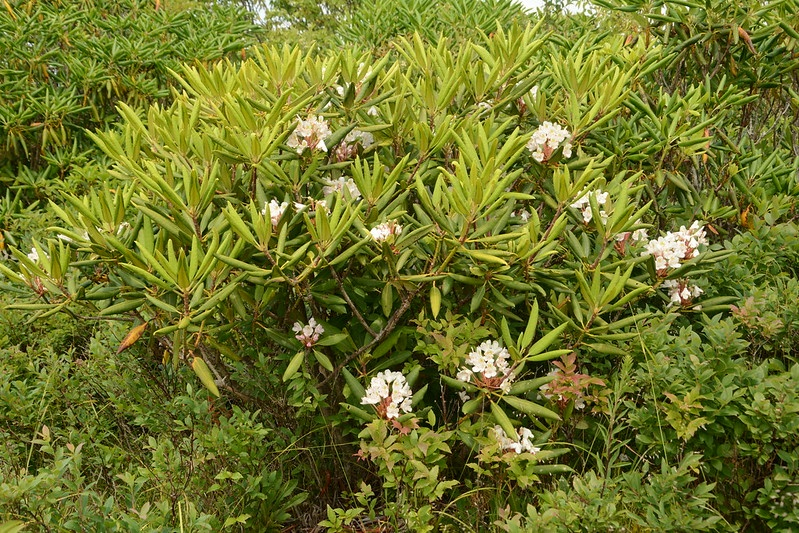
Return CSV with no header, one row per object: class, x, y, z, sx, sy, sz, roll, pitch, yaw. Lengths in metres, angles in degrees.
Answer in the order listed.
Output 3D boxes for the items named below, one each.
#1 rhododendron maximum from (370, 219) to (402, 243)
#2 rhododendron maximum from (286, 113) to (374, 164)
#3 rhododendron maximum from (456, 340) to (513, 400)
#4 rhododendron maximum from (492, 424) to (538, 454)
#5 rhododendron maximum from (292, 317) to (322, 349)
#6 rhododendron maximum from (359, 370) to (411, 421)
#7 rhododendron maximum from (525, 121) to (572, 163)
rhododendron maximum,-0.077,-0.187,3.343,0.131,0.083,0.125,-20,16,-29
rhododendron maximum,-0.446,-0.758,3.778,0.323,0.175,0.330,-2,46,-29
rhododendron maximum,0.482,0.564,3.515,0.299,0.306,0.289,29,64,22
rhododendron maximum,0.653,0.989,3.479,0.173,0.081,0.171,-2,32,-23
rhododendron maximum,-0.526,0.391,3.613,0.169,0.113,0.166,-3,70,4
rhododendron maximum,-0.084,0.686,3.511,0.275,0.278,0.261,-8,10,-23
rhododendron maximum,0.886,-0.748,3.756,0.254,0.224,0.259,13,83,10
